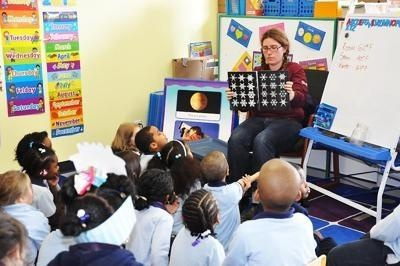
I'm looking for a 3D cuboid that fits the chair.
[{"bbox_3d":[0.874,-0.292,3.454,0.715,1.027,0.849,8,5,39],"label":"chair"}]

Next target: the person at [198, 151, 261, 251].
[{"bbox_3d":[0.205,0.462,2.195,0.427,0.842,0.480,4,47,13],"label":"person"}]

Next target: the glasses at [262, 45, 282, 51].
[{"bbox_3d":[0.741,-0.879,3.234,0.183,0.060,0.058,3,19,5],"label":"glasses"}]
